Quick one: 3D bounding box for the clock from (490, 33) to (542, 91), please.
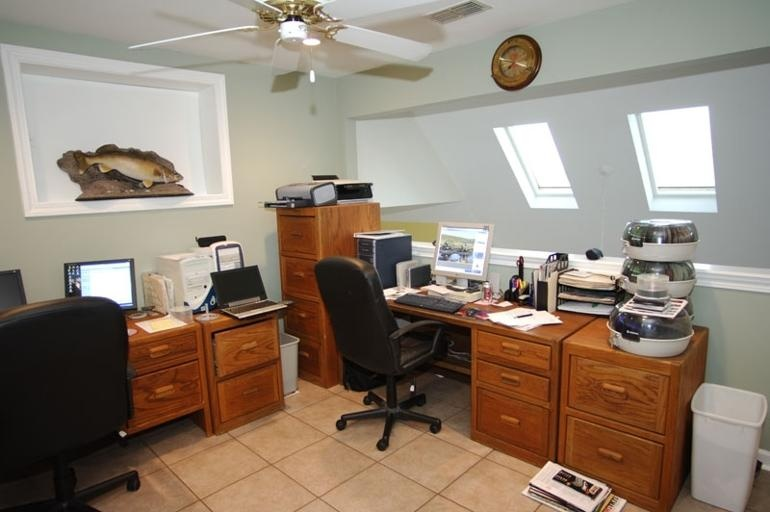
[{"bbox_3d":[1.131,-1.704,4.674,0.451,0.421,0.440,-21,5,-33],"label":"clock"}]

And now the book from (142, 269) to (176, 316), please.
[{"bbox_3d":[-1.952,0.323,4.557,0.345,0.312,0.133,11,18,42],"label":"book"}]

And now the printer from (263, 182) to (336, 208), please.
[{"bbox_3d":[-0.786,-0.562,4.843,0.640,0.227,0.262,-1,10,12],"label":"printer"}]

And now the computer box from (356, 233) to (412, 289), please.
[{"bbox_3d":[-0.078,-0.002,5.032,0.258,0.460,0.343,10,21,38],"label":"computer box"}]

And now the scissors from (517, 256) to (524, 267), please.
[{"bbox_3d":[1.172,0.040,4.619,0.076,0.089,0.072,4,12,33],"label":"scissors"}]

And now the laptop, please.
[{"bbox_3d":[-1.188,0.224,4.524,0.495,0.324,0.517,14,12,38],"label":"laptop"}]

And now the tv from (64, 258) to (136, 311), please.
[{"bbox_3d":[-2.266,0.220,4.154,0.457,0.399,0.061,-2,0,-20],"label":"tv"}]
